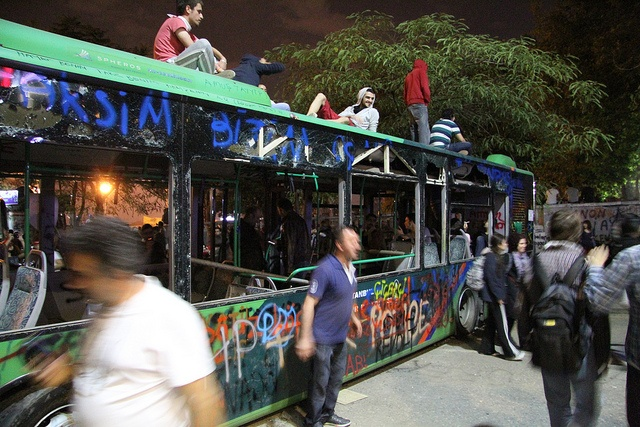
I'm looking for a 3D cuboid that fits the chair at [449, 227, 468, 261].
[{"bbox_3d":[2.583,0.594,7.996,0.422,0.672,0.530,2,-11,8],"label":"chair"}]

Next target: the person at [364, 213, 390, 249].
[{"bbox_3d":[1.258,0.382,9.706,0.464,0.803,0.560,10,-18,-43],"label":"person"}]

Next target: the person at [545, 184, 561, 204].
[{"bbox_3d":[11.484,-0.844,21.220,0.471,0.729,1.935,3,6,27],"label":"person"}]

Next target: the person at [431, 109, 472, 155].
[{"bbox_3d":[2.670,-1.551,8.814,0.923,1.172,0.920,-2,12,-3],"label":"person"}]

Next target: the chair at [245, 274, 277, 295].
[{"bbox_3d":[-0.745,0.898,5.451,0.335,0.410,0.237,-3,-2,38],"label":"chair"}]

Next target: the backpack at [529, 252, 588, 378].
[{"bbox_3d":[2.340,0.937,4.188,0.505,1.079,0.343,3,6,29],"label":"backpack"}]
